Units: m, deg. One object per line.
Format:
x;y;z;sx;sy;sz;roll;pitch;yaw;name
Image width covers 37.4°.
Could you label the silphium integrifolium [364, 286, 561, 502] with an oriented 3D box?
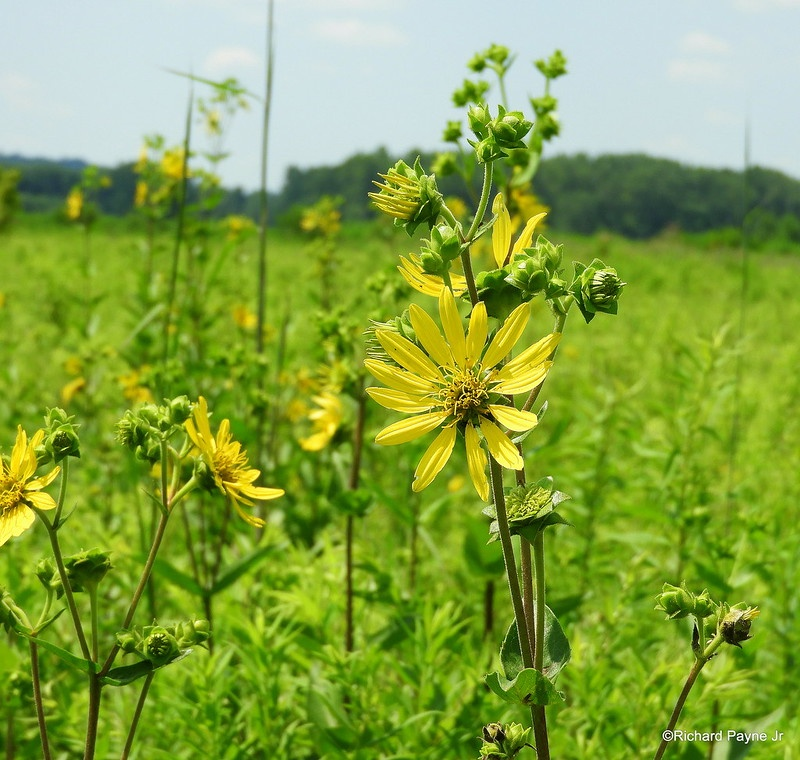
0.111;0.048;2.125;0.316;0.154;0.384;-9;51;-17;silphium integrifolium
